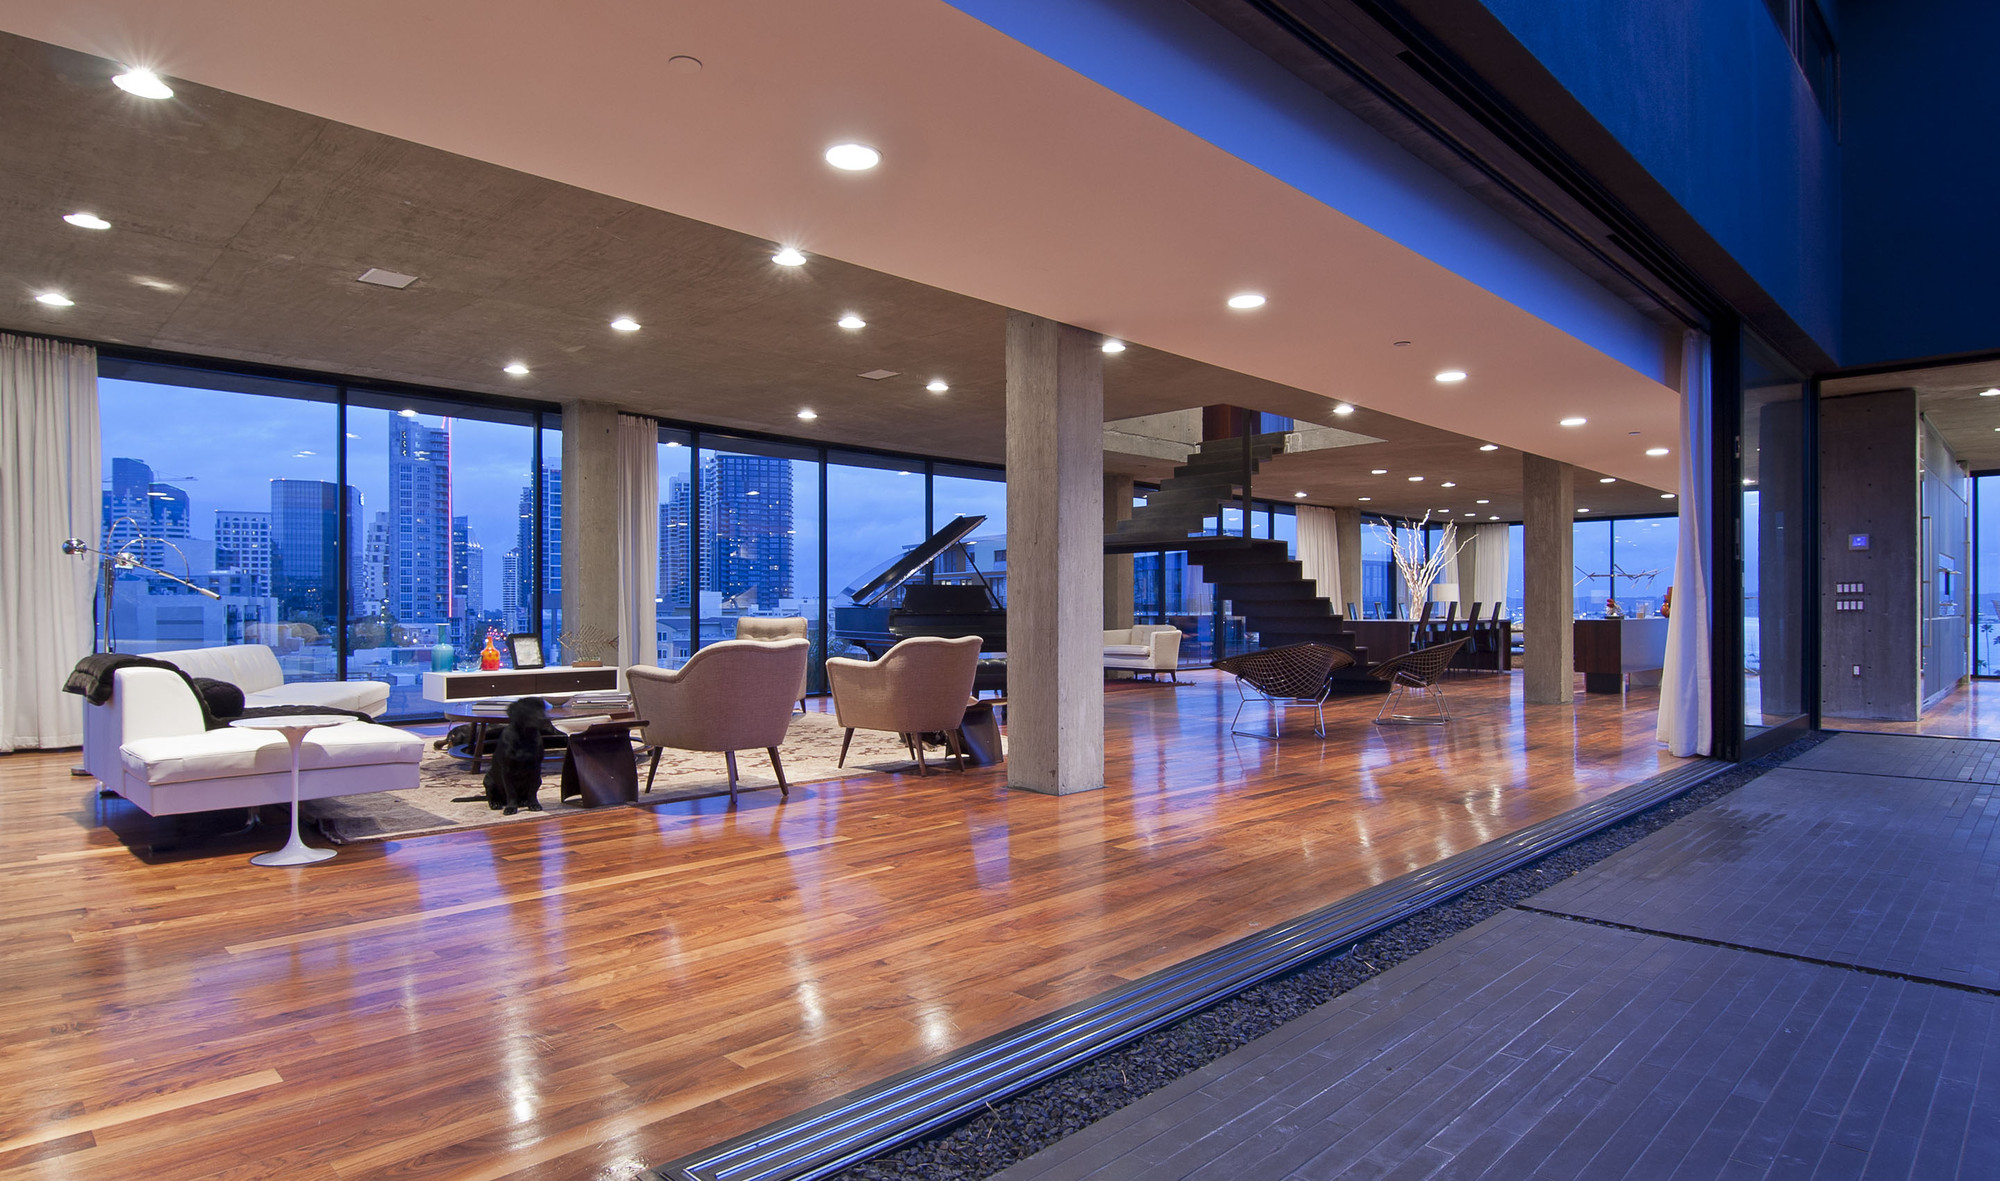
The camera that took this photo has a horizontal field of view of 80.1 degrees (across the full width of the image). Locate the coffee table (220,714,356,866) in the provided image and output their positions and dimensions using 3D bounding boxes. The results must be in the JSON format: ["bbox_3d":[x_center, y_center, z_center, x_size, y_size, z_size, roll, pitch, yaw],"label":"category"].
[{"bbox_3d":[-4.238,1.205,7.502,0.889,0.896,0.897,2,3,39],"label":"coffee table"}]

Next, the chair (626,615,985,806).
[{"bbox_3d":[-1.453,0.908,8.752,2.356,1.134,0.668,-2,4,-32],"label":"chair"}]

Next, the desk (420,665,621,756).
[{"bbox_3d":[-3.908,1.061,10.118,1.621,0.650,0.501,-3,-18,7],"label":"desk"}]

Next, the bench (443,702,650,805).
[{"bbox_3d":[-3.308,1.136,8.807,1.011,0.733,1.512,-2,3,-24],"label":"bench"}]

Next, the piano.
[{"bbox_3d":[-0.710,0.457,9.698,1.111,1.586,1.392,2,4,28],"label":"piano"}]

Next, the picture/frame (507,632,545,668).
[{"bbox_3d":[-4.275,0.554,10.585,0.297,0.262,0.155,2,-26,-47],"label":"picture/frame"}]
